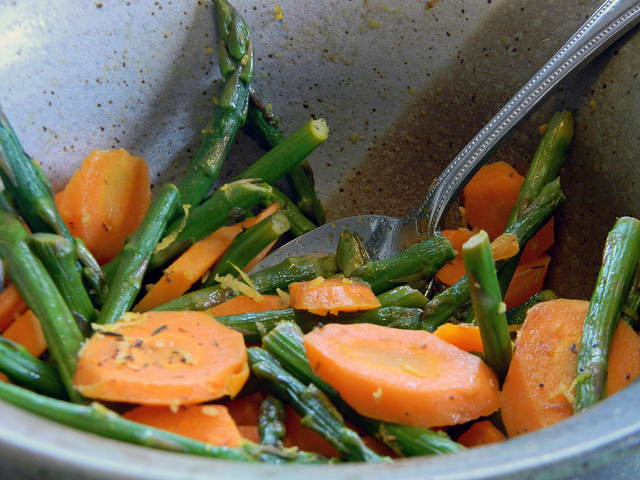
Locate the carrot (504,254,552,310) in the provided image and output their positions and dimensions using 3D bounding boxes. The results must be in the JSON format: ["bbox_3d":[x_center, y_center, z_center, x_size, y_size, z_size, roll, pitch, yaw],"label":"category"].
[{"bbox_3d":[0.652,0.129,2.004,0.121,0.164,0.146,5,21,20],"label":"carrot"}]

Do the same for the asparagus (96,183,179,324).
[{"bbox_3d":[-0.476,0.038,1.672,0.128,0.282,0.196,-18,27,-35],"label":"asparagus"}]

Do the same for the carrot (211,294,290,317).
[{"bbox_3d":[-0.187,0.149,1.728,0.133,0.058,0.173,11,18,36],"label":"carrot"}]

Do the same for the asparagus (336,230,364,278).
[{"bbox_3d":[0.093,0.038,1.931,0.089,0.053,0.160,-23,51,-8],"label":"asparagus"}]

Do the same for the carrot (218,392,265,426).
[{"bbox_3d":[-0.167,0.388,1.444,0.119,0.056,0.121,-5,14,-18],"label":"carrot"}]

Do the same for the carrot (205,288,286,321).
[{"bbox_3d":[-0.201,0.179,1.709,0.158,0.041,0.094,-21,23,-15],"label":"carrot"}]

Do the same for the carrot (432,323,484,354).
[{"bbox_3d":[0.339,0.229,1.558,0.142,0.066,0.130,0,13,0],"label":"carrot"}]

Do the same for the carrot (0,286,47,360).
[{"bbox_3d":[-0.697,0.203,1.499,0.036,0.132,0.141,-27,33,-22],"label":"carrot"}]
